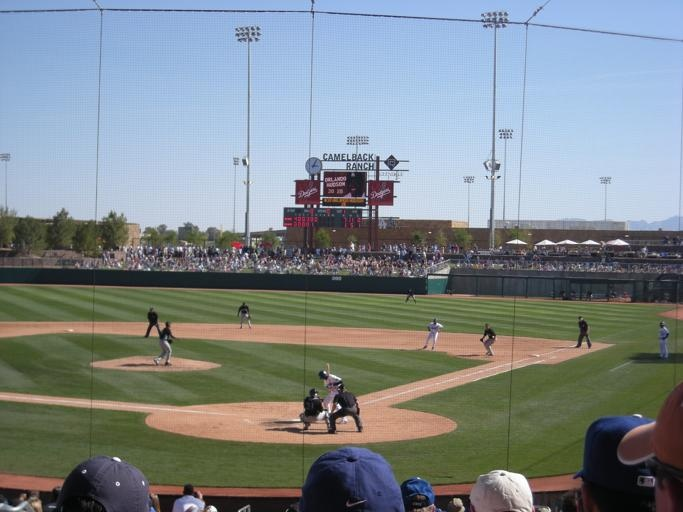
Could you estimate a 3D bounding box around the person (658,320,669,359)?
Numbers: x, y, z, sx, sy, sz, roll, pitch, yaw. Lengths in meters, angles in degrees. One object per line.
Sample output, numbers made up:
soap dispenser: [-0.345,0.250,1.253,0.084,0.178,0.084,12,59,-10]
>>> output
person: [12.795,3.301,59.835,0.396,1.646,2.635,3,9,12]

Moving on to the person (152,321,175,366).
person: [-6.745,3.323,57.108,0.709,1.744,1.215,0,9,-7]
